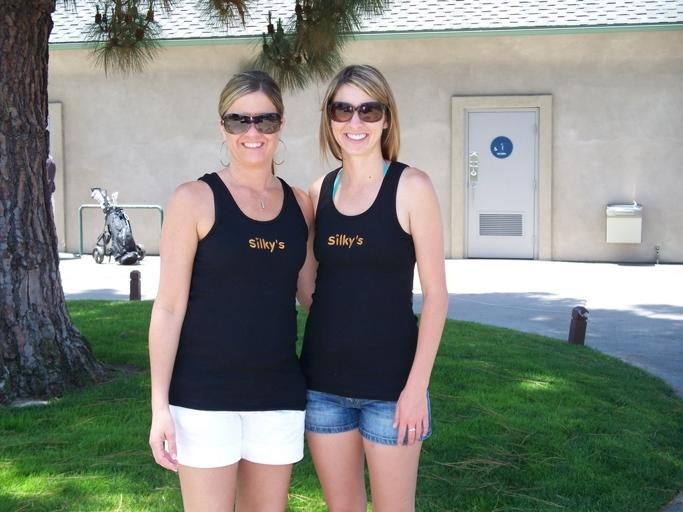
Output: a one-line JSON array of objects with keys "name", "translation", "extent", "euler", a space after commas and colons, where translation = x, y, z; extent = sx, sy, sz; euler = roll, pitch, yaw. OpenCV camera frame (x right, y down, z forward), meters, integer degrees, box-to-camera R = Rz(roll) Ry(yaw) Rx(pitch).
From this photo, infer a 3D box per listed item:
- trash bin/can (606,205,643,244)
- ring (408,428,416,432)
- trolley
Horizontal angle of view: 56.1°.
[{"name": "trash bin/can", "translation": [5.465, -0.646, 12.556], "extent": [0.691, 0.785, 0.485], "euler": [1, -3, 4]}, {"name": "ring", "translation": [0.327, 0.800, 2.966], "extent": [0.034, 0.027, 0.009], "euler": [-2, 9, -10]}, {"name": "trolley", "translation": [-4.425, -0.607, 12.602], "extent": [0.821, 1.478, 1.018], "euler": [-11, 14, -40]}]
